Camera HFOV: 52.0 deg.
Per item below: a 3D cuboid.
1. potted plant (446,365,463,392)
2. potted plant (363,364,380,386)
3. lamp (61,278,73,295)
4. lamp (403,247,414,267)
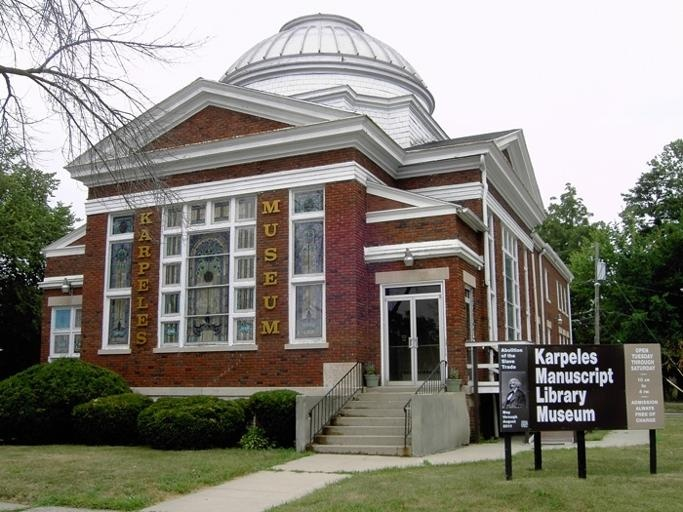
[{"bbox_3d":[3.250,3.598,20.448,0.561,0.657,0.560,1,-21,0],"label":"potted plant"},{"bbox_3d":[0.887,3.615,21.280,0.512,0.617,0.587,0,-24,-2],"label":"potted plant"},{"bbox_3d":[-10.491,1.140,26.694,0.523,0.525,0.499,-1,-13,-11],"label":"lamp"},{"bbox_3d":[2.050,0.043,21.589,0.341,0.571,0.382,-2,4,11],"label":"lamp"}]
